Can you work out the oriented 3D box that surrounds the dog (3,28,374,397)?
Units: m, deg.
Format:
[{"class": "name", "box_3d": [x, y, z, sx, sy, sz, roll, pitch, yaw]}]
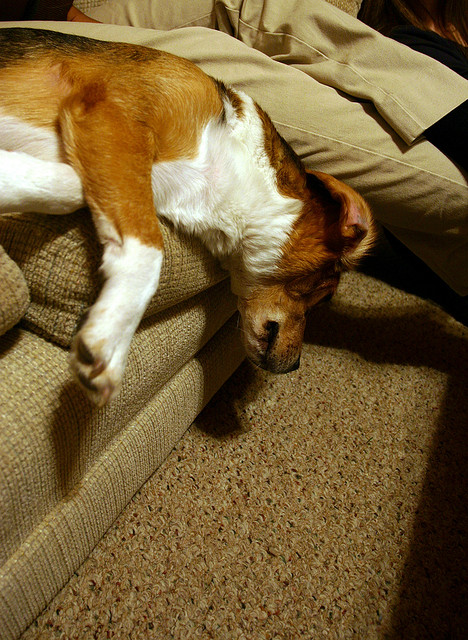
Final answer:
[{"class": "dog", "box_3d": [-0.035, -0.125, 1.400, 1.237, 0.429, 0.712, 20, 68, -38]}]
